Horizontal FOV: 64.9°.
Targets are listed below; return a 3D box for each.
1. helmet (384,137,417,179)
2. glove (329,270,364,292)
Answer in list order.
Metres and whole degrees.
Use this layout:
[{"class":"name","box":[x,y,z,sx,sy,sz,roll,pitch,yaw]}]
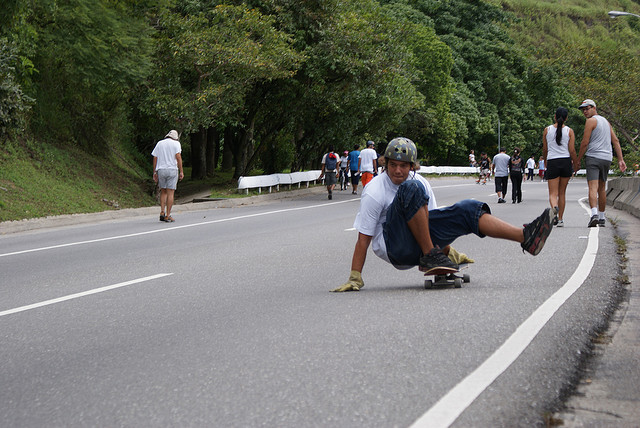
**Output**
[{"class":"helmet","box":[1.011,-0.664,6.229,0.387,0.604,0.519,6,17,9]},{"class":"glove","box":[0.317,0.822,6.328,0.446,0.279,0.185,-9,9,-18]}]
